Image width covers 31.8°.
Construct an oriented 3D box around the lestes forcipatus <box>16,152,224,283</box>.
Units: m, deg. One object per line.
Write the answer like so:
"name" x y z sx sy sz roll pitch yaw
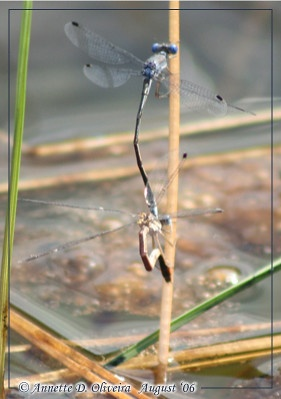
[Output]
"lestes forcipatus" 0.010 0.073 0.986 0.422 0.225 0.179 0 -76 -1
